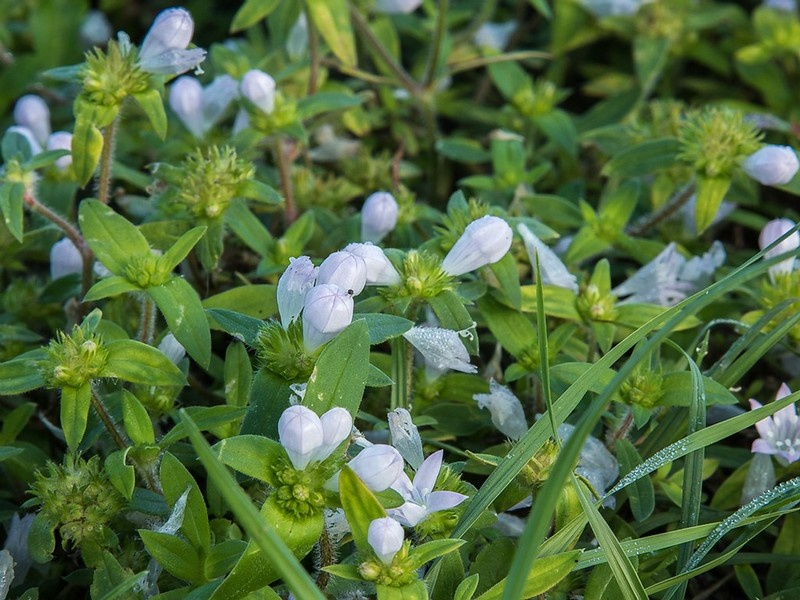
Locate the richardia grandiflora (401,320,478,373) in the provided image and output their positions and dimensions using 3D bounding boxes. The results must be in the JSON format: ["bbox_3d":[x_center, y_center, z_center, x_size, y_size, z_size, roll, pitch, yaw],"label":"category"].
[{"bbox_3d":[0.103,0.126,2.098,0.215,0.108,0.063,28,28,25],"label":"richardia grandiflora"}]

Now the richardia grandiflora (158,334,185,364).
[{"bbox_3d":[-0.615,0.134,2.208,0.080,0.022,0.098,1,89,-30],"label":"richardia grandiflora"}]

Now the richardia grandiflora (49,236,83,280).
[{"bbox_3d":[-1.069,-0.142,2.623,0.103,0.107,0.134,0,89,-2],"label":"richardia grandiflora"}]

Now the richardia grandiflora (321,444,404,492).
[{"bbox_3d":[-0.087,0.378,1.763,0.130,0.074,0.079,-18,101,24],"label":"richardia grandiflora"}]

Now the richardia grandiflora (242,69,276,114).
[{"bbox_3d":[-0.430,-0.633,2.450,0.113,0.093,0.083,14,61,12],"label":"richardia grandiflora"}]

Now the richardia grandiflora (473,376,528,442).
[{"bbox_3d":[0.274,0.308,2.236,0.180,0.115,0.057,53,45,-15],"label":"richardia grandiflora"}]

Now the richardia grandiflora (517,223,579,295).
[{"bbox_3d":[0.403,-0.116,2.304,0.064,0.228,0.082,14,80,23],"label":"richardia grandiflora"}]

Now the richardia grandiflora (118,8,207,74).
[{"bbox_3d":[-0.607,-0.647,2.135,0.182,0.143,0.134,-29,61,-12],"label":"richardia grandiflora"}]

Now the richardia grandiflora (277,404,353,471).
[{"bbox_3d":[-0.212,0.322,1.786,0.083,0.141,0.157,1,102,2],"label":"richardia grandiflora"}]

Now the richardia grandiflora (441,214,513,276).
[{"bbox_3d":[0.196,-0.132,2.134,0.189,0.092,0.113,-40,75,24],"label":"richardia grandiflora"}]
